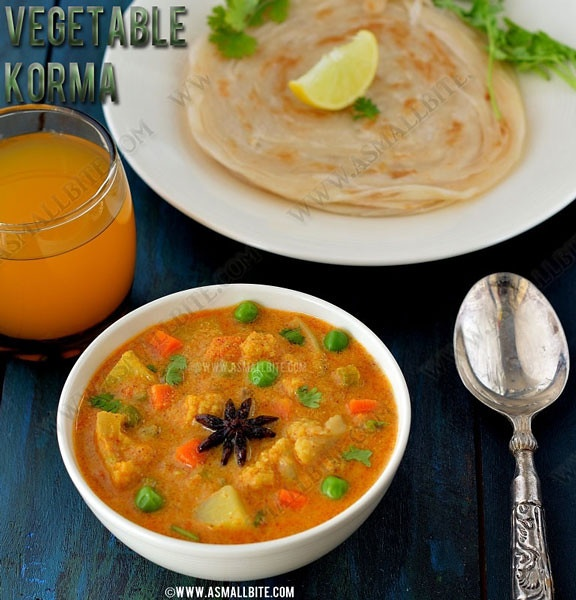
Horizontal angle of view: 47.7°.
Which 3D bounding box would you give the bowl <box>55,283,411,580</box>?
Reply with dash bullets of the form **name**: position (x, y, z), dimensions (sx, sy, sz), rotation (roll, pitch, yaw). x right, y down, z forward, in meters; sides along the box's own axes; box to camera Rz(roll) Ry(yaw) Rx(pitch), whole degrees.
- **bowl**: position (-0.155, 0.294, 1.824), dimensions (0.943, 0.290, 0.885), rotation (4, 57, -6)
